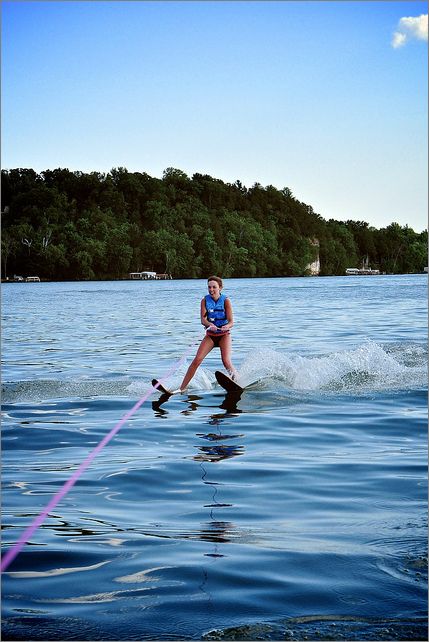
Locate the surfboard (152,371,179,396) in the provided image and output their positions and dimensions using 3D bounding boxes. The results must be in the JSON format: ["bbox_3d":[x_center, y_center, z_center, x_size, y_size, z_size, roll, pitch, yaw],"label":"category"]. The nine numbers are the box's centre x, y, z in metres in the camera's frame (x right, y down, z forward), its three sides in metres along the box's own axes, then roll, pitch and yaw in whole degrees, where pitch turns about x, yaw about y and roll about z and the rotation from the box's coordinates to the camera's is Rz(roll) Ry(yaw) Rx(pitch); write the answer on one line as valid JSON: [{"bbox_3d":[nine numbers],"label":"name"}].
[{"bbox_3d":[-0.711,0.940,10.148,0.141,0.142,0.837,33,-4,11],"label":"surfboard"}]

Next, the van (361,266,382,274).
[{"bbox_3d":[38.854,-12.435,175.845,4.052,1.759,10.607,4,1,21],"label":"van"}]

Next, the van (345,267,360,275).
[{"bbox_3d":[32.574,-11.464,166.519,2.204,1.555,11.832,4,1,14],"label":"van"}]
